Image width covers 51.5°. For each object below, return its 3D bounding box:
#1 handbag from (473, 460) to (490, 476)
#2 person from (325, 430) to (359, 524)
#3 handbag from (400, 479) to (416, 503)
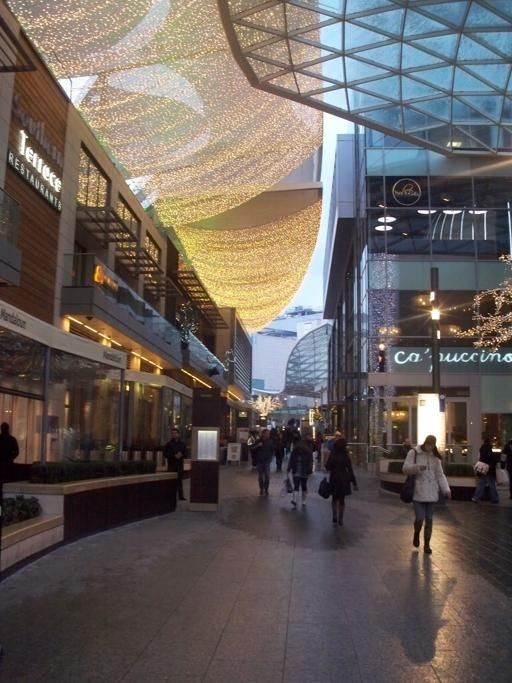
[{"bbox_3d":[5.613,3.162,13.166,0.310,0.349,0.396,-2,-9,21],"label":"handbag"},{"bbox_3d":[1.600,2.599,10.011,0.527,1.527,1.905,0,-8,9],"label":"person"},{"bbox_3d":[2.152,2.121,7.532,0.190,0.425,0.833,-1,-8,15],"label":"handbag"}]
